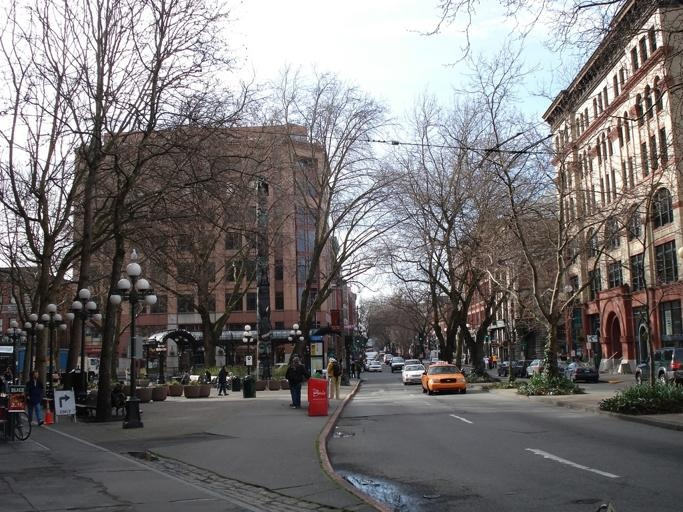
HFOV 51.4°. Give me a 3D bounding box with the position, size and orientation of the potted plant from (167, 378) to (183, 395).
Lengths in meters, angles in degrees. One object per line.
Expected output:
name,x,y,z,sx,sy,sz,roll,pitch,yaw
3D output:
potted plant,-10.120,8.001,43.369,1.090,0.917,1.267,-4,-15,7

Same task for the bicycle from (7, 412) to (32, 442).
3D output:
bicycle,-9.142,4.852,20.139,0.556,0.769,1.115,3,-15,-22

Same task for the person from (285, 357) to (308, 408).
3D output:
person,-1.702,5.115,28.417,0.942,2.257,0.653,1,18,0

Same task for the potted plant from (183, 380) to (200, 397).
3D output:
potted plant,-8.174,7.269,39.127,0.874,0.698,0.974,-2,-15,-2

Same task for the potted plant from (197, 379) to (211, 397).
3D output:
potted plant,-7.595,7.462,39.605,0.706,0.653,0.828,-7,-15,19

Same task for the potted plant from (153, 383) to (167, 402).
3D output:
potted plant,-9.426,7.123,36.856,0.710,0.639,0.747,-3,-12,6

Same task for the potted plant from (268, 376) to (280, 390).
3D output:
potted plant,-4.130,8.001,44.227,0.561,0.481,0.605,1,-8,-15
